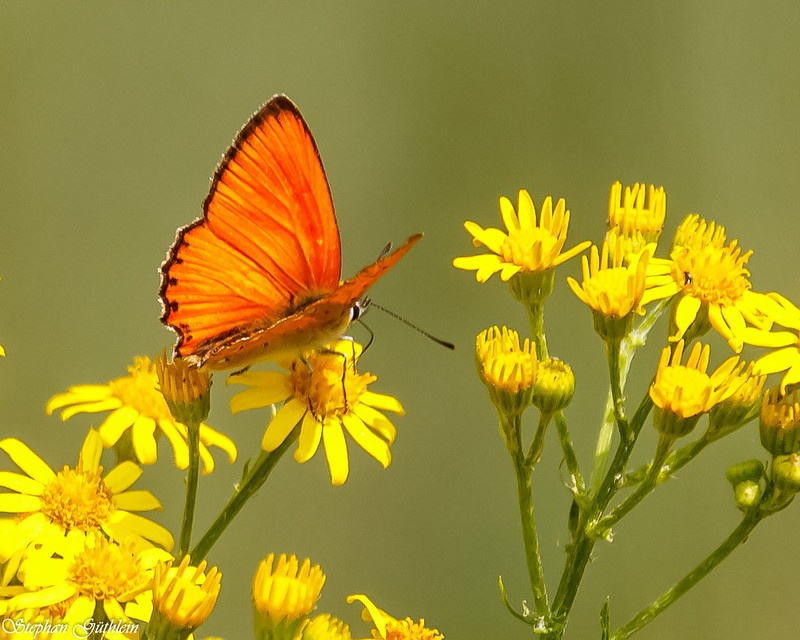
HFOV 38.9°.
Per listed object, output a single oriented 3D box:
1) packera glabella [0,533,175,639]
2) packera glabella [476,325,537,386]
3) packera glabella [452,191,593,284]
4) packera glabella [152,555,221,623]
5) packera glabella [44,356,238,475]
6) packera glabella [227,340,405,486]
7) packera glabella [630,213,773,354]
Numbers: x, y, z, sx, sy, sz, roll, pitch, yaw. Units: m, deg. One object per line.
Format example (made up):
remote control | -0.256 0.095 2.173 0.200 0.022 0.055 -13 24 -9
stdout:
packera glabella | -0.693 0.589 2.557 0.337 0.218 0.214 7 -17 -13
packera glabella | 0.265 0.093 2.819 0.203 0.103 0.168 4 6 32
packera glabella | 0.346 -0.197 2.937 0.303 0.112 0.253 29 3 39
packera glabella | -0.493 0.608 2.503 0.172 0.153 0.118 -8 -19 34
packera glabella | -0.715 0.275 3.015 0.440 0.271 0.535 22 4 3
packera glabella | -0.215 0.211 2.891 0.390 0.203 0.423 -5 27 -37
packera glabella | 0.721 -0.071 2.747 0.215 0.233 0.091 28 -39 7
